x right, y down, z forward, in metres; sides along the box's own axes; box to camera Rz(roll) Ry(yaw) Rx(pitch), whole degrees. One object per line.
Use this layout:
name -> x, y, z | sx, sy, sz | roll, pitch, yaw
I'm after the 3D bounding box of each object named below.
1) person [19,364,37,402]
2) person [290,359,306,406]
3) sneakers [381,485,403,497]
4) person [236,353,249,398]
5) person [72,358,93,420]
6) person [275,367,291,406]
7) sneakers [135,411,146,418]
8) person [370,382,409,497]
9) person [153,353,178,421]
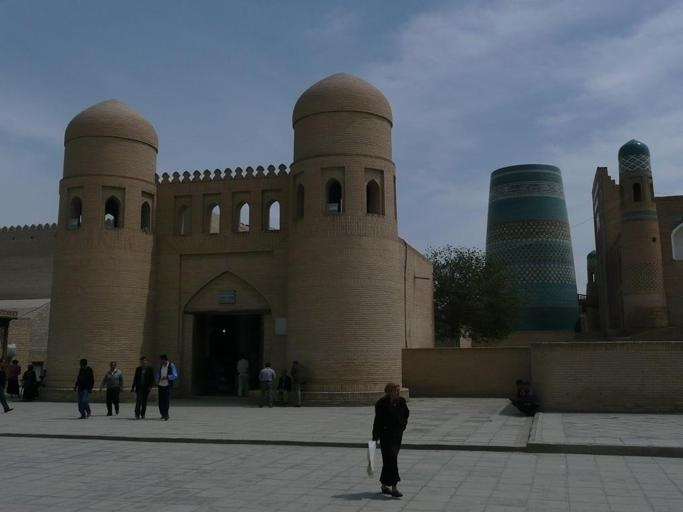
person -> -9.814, 3.957, 19.624 | 0.431, 1.080, 0.865 | 3, -11, -26
person -> -1.262, 3.572, 17.746 | 0.352, 1.260, 0.748 | 0, -10, -13
sneakers -> 0.582, 2.889, 7.696 | 0.109, 0.157, 0.323 | 10, -21, -36
person -> -3.225, 3.834, 20.164 | 0.324, 1.292, 0.923 | 0, -10, -10
person -> -6.183, 3.118, 14.941 | 0.381, 1.357, 1.662 | 2, -10, -22
person -> -1.679, 3.762, 18.060 | 0.367, 0.952, 0.609 | 0, -10, -14
sneakers -> -4.673, 3.643, 14.429 | 0.148, 0.105, 0.140 | -3, -12, 8
person -> 0.629, 2.311, 8.043 | 0.470, 1.331, 0.828 | -3, -10, 4
person -> -4.111, 3.017, 14.611 | 0.397, 1.458, 1.258 | 1, -10, -16
